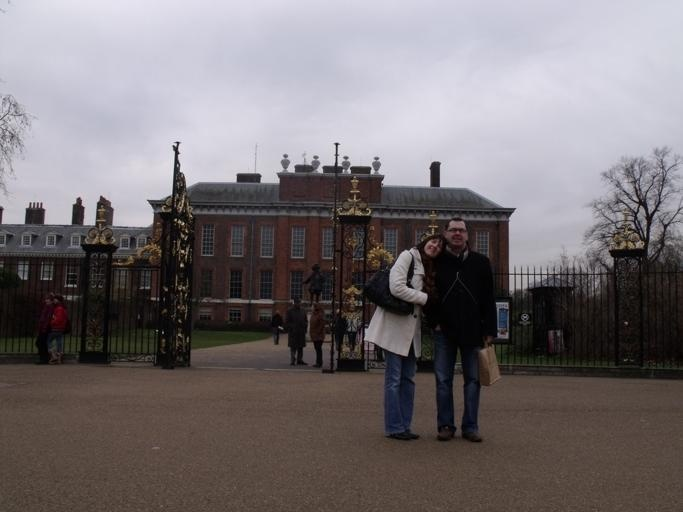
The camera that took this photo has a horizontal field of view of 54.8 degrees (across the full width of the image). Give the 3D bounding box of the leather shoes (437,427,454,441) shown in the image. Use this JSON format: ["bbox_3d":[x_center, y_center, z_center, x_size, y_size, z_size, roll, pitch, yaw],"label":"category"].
[{"bbox_3d":[1.148,1.963,7.214,0.081,0.103,0.233,-5,-21,17],"label":"leather shoes"}]

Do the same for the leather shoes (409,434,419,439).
[{"bbox_3d":[0.812,1.986,7.212,0.125,0.059,0.045,-2,-2,-9],"label":"leather shoes"}]

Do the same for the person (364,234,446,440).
[{"bbox_3d":[0.689,0.884,7.384,0.832,2.260,0.432,0,-4,3],"label":"person"}]

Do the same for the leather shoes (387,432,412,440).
[{"bbox_3d":[0.641,1.938,7.205,0.245,0.116,0.087,7,-1,14],"label":"leather shoes"}]

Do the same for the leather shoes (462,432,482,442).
[{"bbox_3d":[1.428,1.970,7.190,0.202,0.095,0.085,-1,4,6],"label":"leather shoes"}]

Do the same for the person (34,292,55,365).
[{"bbox_3d":[-6.962,1.692,15.431,0.314,1.596,0.828,2,-4,-24],"label":"person"}]
